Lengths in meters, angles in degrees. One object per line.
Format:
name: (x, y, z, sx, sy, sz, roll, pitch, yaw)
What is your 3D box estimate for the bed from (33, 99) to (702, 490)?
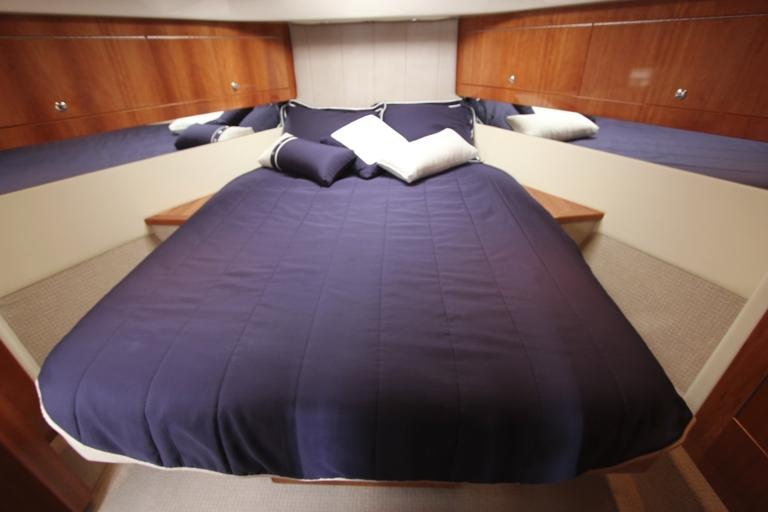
bed: (-0.156, 0.379, 2.239, 2.624, 0.731, 1.544, -6, 32, -7)

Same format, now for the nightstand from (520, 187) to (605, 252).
nightstand: (1.167, -0.227, 2.907, 0.537, 0.370, 0.307, 1, 55, 4)
